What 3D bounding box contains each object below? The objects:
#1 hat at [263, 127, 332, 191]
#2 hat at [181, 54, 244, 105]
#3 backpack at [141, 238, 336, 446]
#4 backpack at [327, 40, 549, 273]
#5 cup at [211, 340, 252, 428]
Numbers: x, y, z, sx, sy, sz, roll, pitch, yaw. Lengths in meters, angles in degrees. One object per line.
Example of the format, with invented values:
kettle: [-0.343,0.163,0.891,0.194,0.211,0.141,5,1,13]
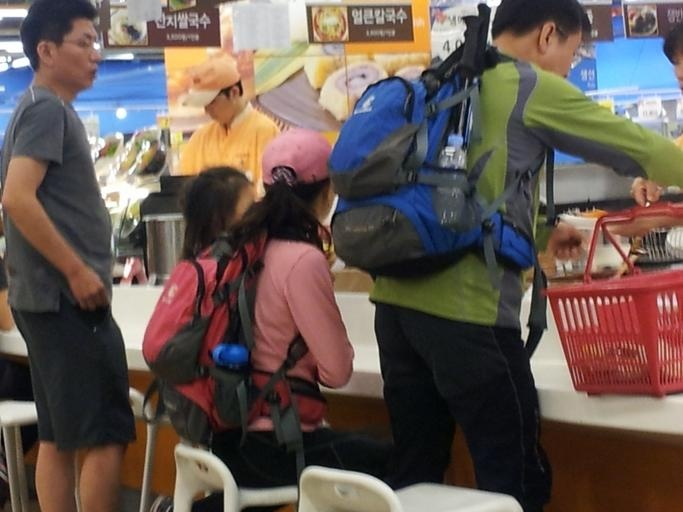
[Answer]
hat: [-0.130,-0.320,2.071,0.190,0.176,0.306,-6,13,19]
hat: [-0.905,-1.253,4.764,0.498,0.290,0.335,-27,19,-28]
backpack: [-0.300,0.220,2.043,0.522,0.644,0.440,-2,2,-24]
backpack: [0.232,-0.248,1.846,0.497,0.626,0.390,-1,-2,-22]
cup: [-0.290,0.337,1.826,0.100,0.225,0.077,1,6,7]
